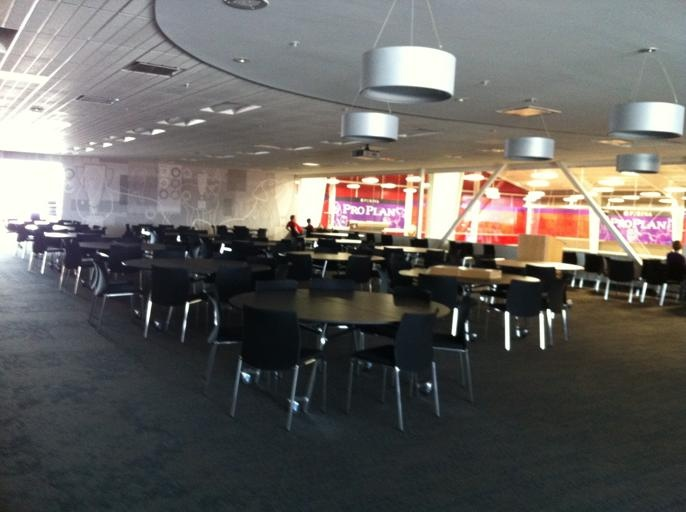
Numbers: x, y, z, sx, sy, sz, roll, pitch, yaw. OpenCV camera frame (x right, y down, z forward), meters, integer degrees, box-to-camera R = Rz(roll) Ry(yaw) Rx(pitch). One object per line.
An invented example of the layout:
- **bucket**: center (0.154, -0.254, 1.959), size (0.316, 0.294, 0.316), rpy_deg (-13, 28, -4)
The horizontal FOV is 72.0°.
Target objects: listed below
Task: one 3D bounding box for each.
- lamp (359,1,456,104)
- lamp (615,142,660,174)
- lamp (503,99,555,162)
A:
- **lamp**: center (0.469, -1.363, 3.502), size (0.670, 0.374, 0.455), rpy_deg (2, 2, 1)
- **lamp**: center (5.518, -1.749, 8.817), size (0.651, 0.324, 0.655), rpy_deg (3, 3, 26)
- **lamp**: center (3.132, -1.974, 7.878), size (0.837, 0.918, 1.821), rpy_deg (3, 2, 23)
